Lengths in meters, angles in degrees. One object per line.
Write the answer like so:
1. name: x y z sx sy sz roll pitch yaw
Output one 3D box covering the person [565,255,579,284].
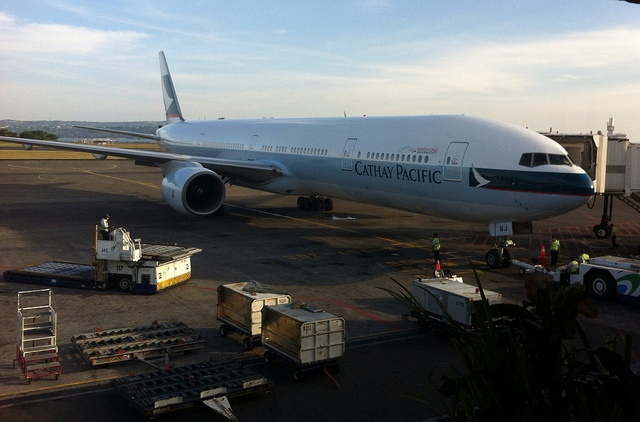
1. person: 9.074 2.111 17.496 0.390 0.802 0.808 8 14 23
